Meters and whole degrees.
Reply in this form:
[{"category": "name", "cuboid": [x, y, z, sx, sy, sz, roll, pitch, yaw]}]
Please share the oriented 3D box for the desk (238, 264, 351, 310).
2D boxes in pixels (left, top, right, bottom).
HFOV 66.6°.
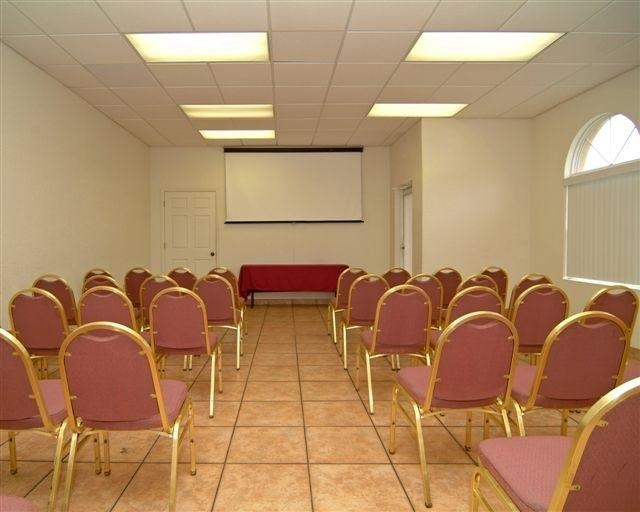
[{"category": "desk", "cuboid": [-0.489, 0.510, 9.093, 1.955, 0.805, 0.459, 0, 19, -3]}]
